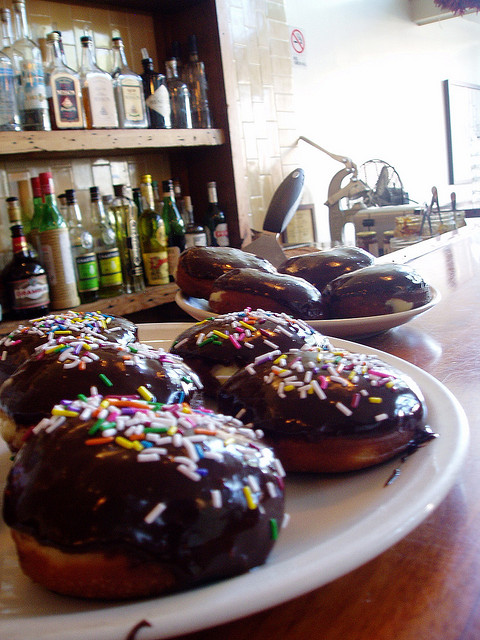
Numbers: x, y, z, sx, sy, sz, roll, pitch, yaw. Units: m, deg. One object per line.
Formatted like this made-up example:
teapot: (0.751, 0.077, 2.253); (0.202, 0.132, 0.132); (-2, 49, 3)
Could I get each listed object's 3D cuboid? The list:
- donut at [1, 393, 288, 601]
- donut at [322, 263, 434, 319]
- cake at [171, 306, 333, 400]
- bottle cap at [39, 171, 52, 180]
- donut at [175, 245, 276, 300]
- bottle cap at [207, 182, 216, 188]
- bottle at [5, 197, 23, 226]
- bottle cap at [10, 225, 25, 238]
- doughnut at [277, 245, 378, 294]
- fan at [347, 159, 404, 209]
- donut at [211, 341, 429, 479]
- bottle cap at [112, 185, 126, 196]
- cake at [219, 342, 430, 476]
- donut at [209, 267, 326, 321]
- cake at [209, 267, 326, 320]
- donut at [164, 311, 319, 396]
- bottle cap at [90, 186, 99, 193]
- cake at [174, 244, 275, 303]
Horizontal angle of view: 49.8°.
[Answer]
donut: (-0.039, 0.052, 0.224); (0.093, 0.044, 0.094); (5, 3, 29)
donut: (0.147, -0.029, 0.549); (0.094, 0.042, 0.065); (-9, 7, -5)
cake: (0.003, 0.019, 0.452); (0.095, 0.038, 0.122); (20, 18, 22)
bottle cap: (-0.438, -0.325, 1.164); (0.021, 0.017, 0.030); (-7, 12, 3)
donut: (-0.017, -0.050, 0.662); (0.109, 0.048, 0.075); (9, -1, 5)
bottle cap: (-0.083, -0.405, 1.538); (0.022, 0.019, 0.037); (-4, 11, 3)
bottle: (-0.498, -0.241, 1.142); (0.026, 0.063, 0.086); (-13, 13, -21)
bottle cap: (-0.477, -0.192, 1.111); (0.028, 0.023, 0.026); (-2, 10, -15)
doughnut: (0.129, -0.070, 0.713); (0.090, 0.039, 0.087); (0, 8, 26)
fan: (0.730, -0.739, 2.718); (0.233, 0.271, 1.273); (-4, 12, 17)
donut: (0.051, 0.044, 0.345); (0.114, 0.044, 0.144); (-25, 26, -38)
bottle cap: (-0.305, -0.333, 1.319); (0.027, 0.028, 0.032); (-10, 12, -9)
cake: (0.058, 0.046, 0.348); (0.157, 0.047, 0.121); (-5, 15, -27)
donut: (0.033, -0.027, 0.551); (0.092, 0.039, 0.066); (13, 3, 25)
cake: (0.031, -0.027, 0.586); (0.133, 0.055, 0.096); (10, 17, 14)
donut: (0.005, 0.018, 0.445); (0.097, 0.040, 0.123); (31, 29, 33)
bottle cap: (-0.359, -0.323, 1.270); (0.019, 0.012, 0.017); (-1, 24, -5)
cake: (-0.018, -0.055, 0.646); (0.116, 0.053, 0.080); (5, 2, 2)
